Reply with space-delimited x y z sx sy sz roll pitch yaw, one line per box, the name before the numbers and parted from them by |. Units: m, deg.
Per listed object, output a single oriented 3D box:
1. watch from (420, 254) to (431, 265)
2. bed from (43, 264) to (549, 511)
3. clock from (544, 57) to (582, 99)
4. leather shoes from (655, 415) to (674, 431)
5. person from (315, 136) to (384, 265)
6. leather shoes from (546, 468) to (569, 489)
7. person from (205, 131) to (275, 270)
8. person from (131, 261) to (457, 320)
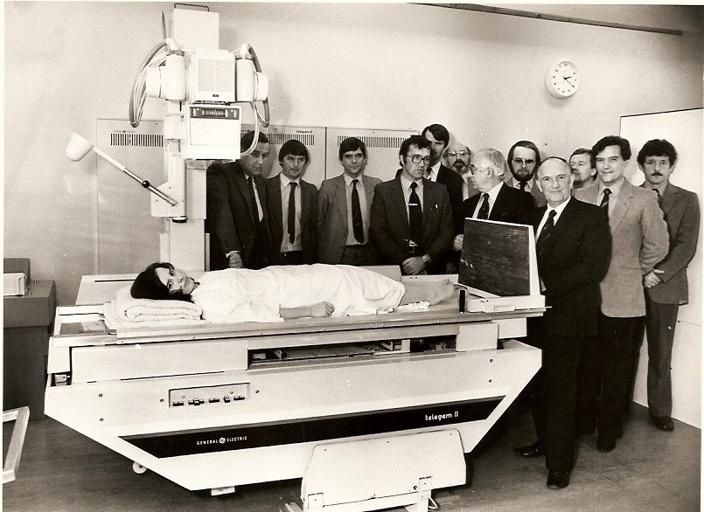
watch | 0.576 0.027 4.973 0.067 0.075 0.050 -12 -33 5
bed | -0.282 0.793 3.371 2.455 1.180 0.372 -2 8 -12
clock | 1.753 -1.494 5.304 0.302 0.316 0.082 -6 4 -19
leather shoes | 2.177 1.158 4.431 0.057 0.067 0.153 -8 2 0
person | -0.047 -0.428 5.007 0.450 0.979 0.123 0 8 -2
leather shoes | 1.232 1.311 3.762 0.158 0.100 0.072 -1 8 -9
person | -0.822 -0.400 4.721 0.486 0.990 0.224 -7 11 -39
person | -0.361 0.195 3.481 1.458 0.268 0.598 -1 17 -15
